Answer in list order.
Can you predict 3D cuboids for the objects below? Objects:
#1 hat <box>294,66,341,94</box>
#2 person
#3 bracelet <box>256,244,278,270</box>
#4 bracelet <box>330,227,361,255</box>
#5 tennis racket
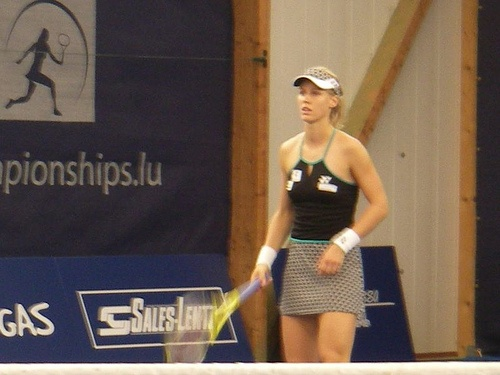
[{"bbox_3d":[0.389,-0.723,9.881,0.308,0.158,0.226,5,-11,6],"label":"hat"},{"bbox_3d":[0.473,0.184,9.847,0.859,1.933,0.292,2,-2,2],"label":"person"},{"bbox_3d":[0.118,0.458,9.992,0.142,0.150,0.137,15,-20,14],"label":"bracelet"},{"bbox_3d":[0.625,0.343,9.777,0.119,0.135,0.175,39,-11,2],"label":"bracelet"},{"bbox_3d":[-0.279,0.891,10.505,0.788,0.468,0.205,-24,-20,3],"label":"tennis racket"}]
